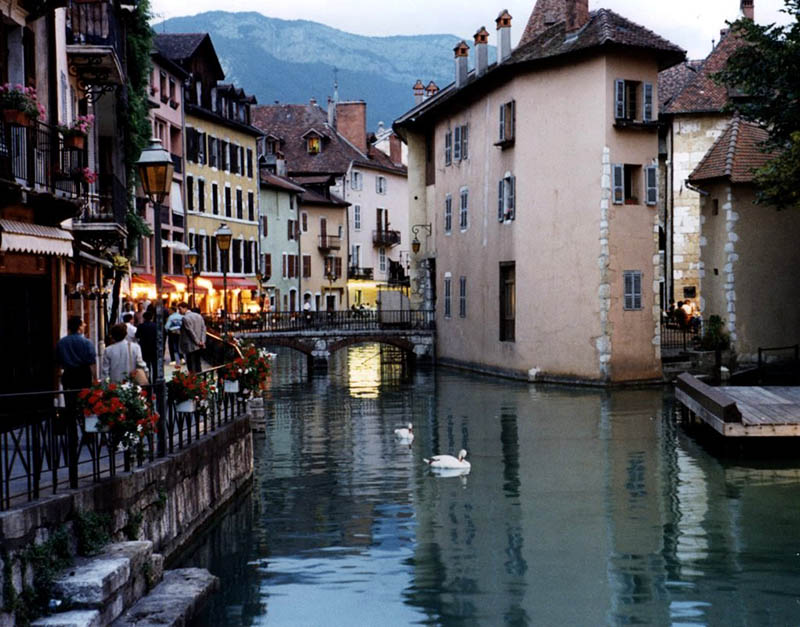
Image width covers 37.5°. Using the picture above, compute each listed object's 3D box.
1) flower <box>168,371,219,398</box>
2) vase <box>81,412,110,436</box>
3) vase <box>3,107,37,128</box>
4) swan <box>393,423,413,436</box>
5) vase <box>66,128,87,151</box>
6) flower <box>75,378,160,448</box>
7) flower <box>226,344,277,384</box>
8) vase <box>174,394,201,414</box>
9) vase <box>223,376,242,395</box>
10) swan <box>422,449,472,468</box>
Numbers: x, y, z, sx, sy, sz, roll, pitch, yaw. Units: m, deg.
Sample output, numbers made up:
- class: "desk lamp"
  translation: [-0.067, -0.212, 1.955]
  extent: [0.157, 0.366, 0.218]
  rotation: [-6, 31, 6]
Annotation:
- class: "flower"
  translation: [-3.393, 1.164, 19.113]
  extent: [0.439, 0.355, 0.463]
  rotation: [-1, 4, 1]
- class: "vase"
  translation: [-3.862, 1.395, 14.965]
  extent: [0.374, 0.326, 0.225]
  rotation: [3, 9, 6]
- class: "vase"
  translation: [-6.153, -3.193, 19.151]
  extent: [0.237, 0.263, 0.548]
  rotation: [2, 4, 23]
- class: "swan"
  translation: [0.100, 2.821, 28.439]
  extent: [0.324, 0.393, 0.482]
  rotation: [1, -3, -26]
- class: "vase"
  translation: [-5.880, -3.152, 21.407]
  extent: [0.258, 0.286, 0.347]
  rotation: [-2, -2, 36]
- class: "flower"
  translation: [-3.656, 1.313, 15.236]
  extent: [0.423, 0.882, 1.032]
  rotation: [2, 4, 28]
- class: "flower"
  translation: [-3.090, 1.085, 24.121]
  extent: [0.675, 0.668, 0.719]
  rotation: [0, 9, -10]
- class: "vase"
  translation: [-3.425, 1.468, 19.005]
  extent: [0.289, 0.217, 0.244]
  rotation: [-2, 0, 30]
- class: "vase"
  translation: [-3.236, 1.381, 22.641]
  extent: [0.249, 0.217, 0.269]
  rotation: [-1, 5, 2]
- class: "swan"
  translation: [1.009, 3.025, 24.388]
  extent: [0.744, 0.538, 0.443]
  rotation: [-3, 1, 16]
